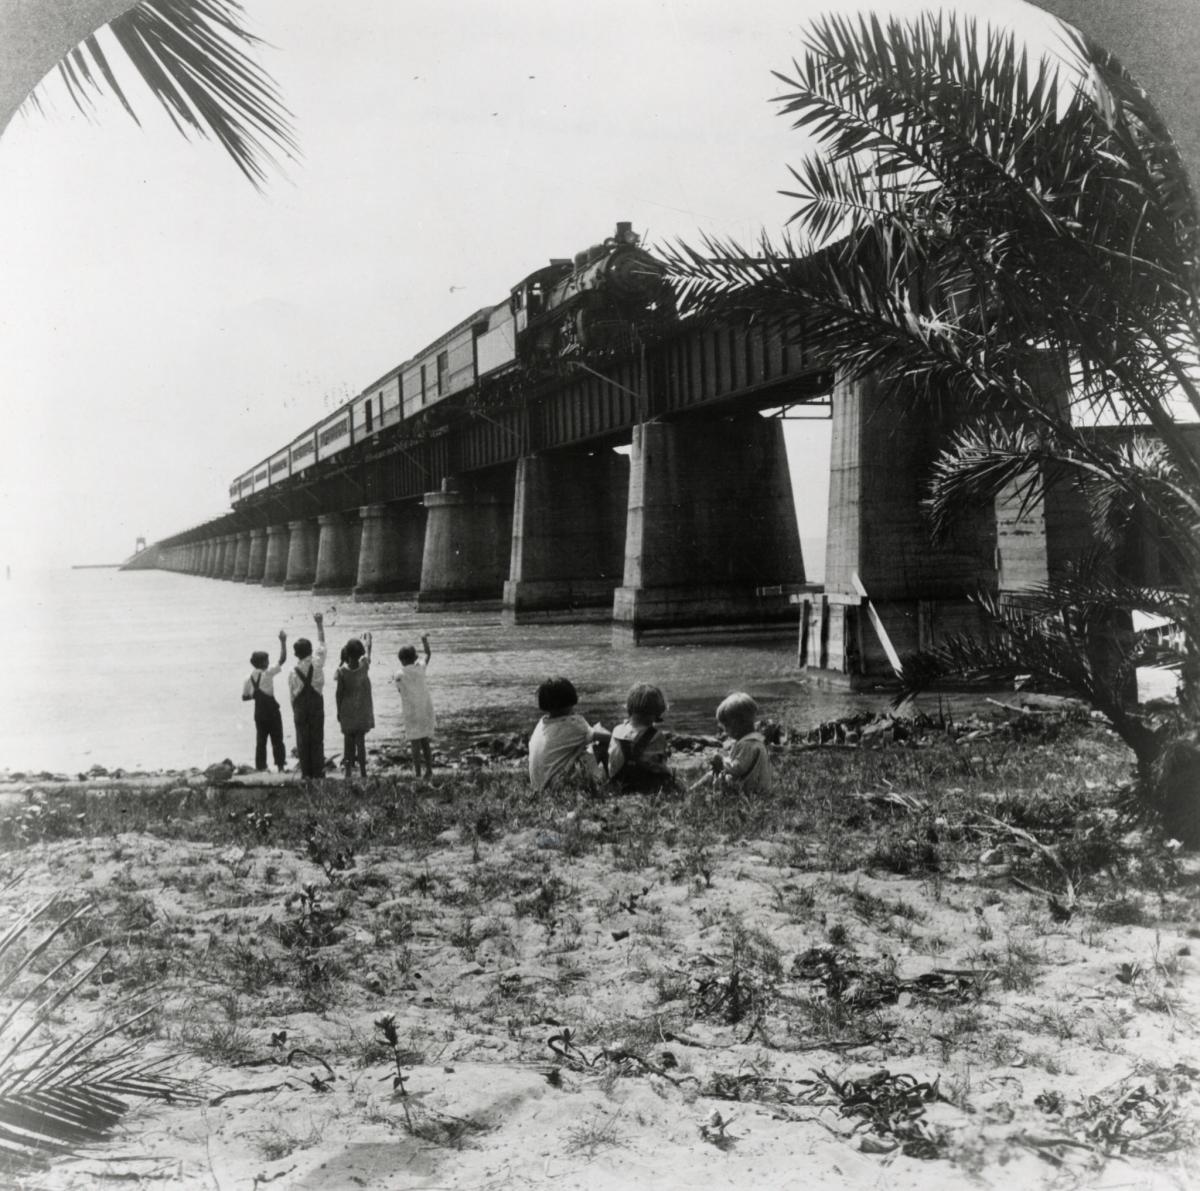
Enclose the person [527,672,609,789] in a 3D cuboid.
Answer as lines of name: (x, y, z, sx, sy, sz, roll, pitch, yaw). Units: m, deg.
person: (-0.184, 0.879, 8.111, 0.515, 0.689, 1.414, -1, 0, 0)
